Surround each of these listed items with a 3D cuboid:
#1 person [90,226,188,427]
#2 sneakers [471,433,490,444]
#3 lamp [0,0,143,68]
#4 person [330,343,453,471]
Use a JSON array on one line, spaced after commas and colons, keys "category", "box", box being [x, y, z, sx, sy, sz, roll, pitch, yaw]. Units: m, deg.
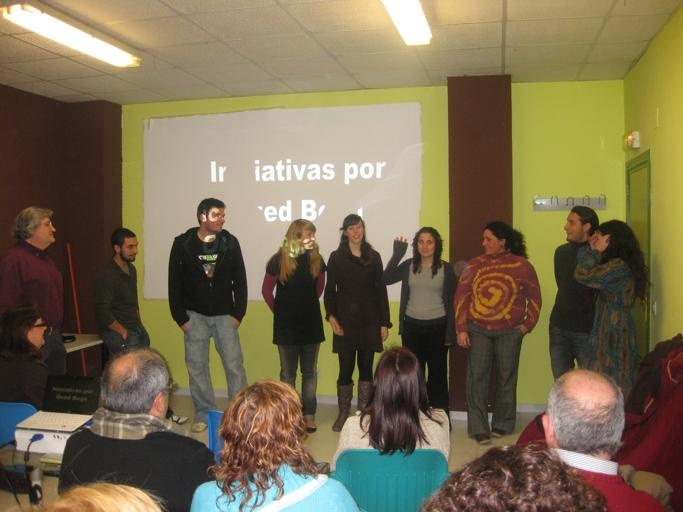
[{"category": "person", "box": [-1.945, 0.674, 5.617, 0.852, 1.862, 0.580, 0, 13, -15]}, {"category": "sneakers", "box": [1.209, 1.575, 4.929, 0.059, 0.075, 0.168, -1, -14, -9]}, {"category": "lamp", "box": [-2.069, -1.676, 4.444, 0.368, 0.175, 1.064, 1, 3, 29]}, {"category": "person", "box": [0.264, 0.940, 3.157, 0.635, 0.789, 0.424, -1, 13, -8]}]
